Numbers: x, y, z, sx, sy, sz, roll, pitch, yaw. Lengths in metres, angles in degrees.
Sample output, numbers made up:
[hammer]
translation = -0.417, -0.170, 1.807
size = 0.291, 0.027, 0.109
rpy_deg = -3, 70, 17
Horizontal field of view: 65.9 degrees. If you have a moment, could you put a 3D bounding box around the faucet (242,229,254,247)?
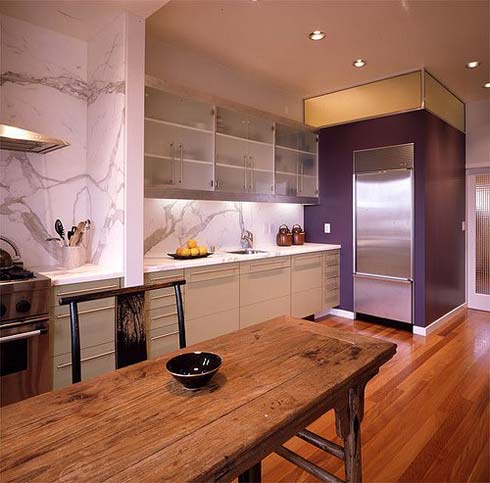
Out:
[faucet]
translation = 0.028, -0.035, 4.202
size = 0.137, 0.205, 0.214
rpy_deg = 2, 8, 1

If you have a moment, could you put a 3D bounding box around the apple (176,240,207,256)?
[apple]
translation = -0.466, 0.035, 3.314
size = 0.151, 0.117, 0.215
rpy_deg = -3, 1, 33
